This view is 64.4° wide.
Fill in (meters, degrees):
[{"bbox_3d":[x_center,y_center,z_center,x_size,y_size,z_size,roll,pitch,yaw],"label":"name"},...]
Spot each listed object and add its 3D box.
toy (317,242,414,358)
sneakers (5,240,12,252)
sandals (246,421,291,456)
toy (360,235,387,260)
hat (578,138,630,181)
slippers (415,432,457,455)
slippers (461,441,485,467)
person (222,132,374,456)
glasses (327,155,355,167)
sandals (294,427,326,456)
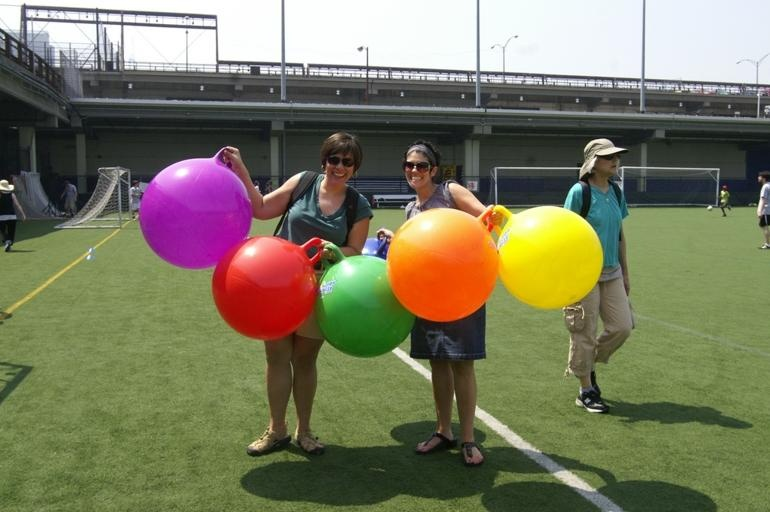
[{"bbox_3d":[-0.152,0.378,4.794,0.679,0.843,0.697,-25,-8,35],"label":"toy"},{"bbox_3d":[-9.541,-0.235,15.524,0.095,0.266,0.126,20,34,-25],"label":"sneakers"},{"bbox_3d":[-0.944,1.552,5.153,0.412,0.200,0.162,-6,8,-28],"label":"sandals"},{"bbox_3d":[-0.075,-0.083,5.373,0.145,0.196,0.202,2,29,10],"label":"toy"},{"bbox_3d":[2.069,-0.932,5.818,0.476,0.323,0.358,-8,6,45],"label":"hat"},{"bbox_3d":[0.426,1.584,5.155,0.289,0.124,0.164,4,-9,-13],"label":"slippers"},{"bbox_3d":[0.737,1.593,4.944,0.199,0.177,0.114,-3,12,-12],"label":"slippers"},{"bbox_3d":[-0.755,0.257,4.967,1.219,2.585,0.933,1,-8,2],"label":"person"},{"bbox_3d":[-0.358,-0.762,4.937,0.212,0.092,0.029,-1,11,-6],"label":"glasses"},{"bbox_3d":[-0.603,1.557,5.068,0.143,0.124,0.275,1,-9,-35],"label":"sandals"}]
